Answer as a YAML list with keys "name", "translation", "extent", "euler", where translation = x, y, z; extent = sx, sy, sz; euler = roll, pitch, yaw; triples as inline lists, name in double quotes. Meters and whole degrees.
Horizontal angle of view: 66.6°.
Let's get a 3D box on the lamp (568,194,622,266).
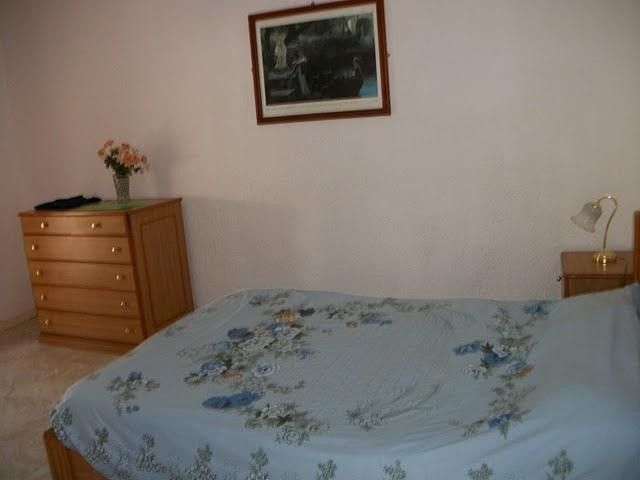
- name: "lamp"
  translation: [1.874, -0.080, 3.291]
  extent: [0.365, 0.581, 0.234]
  euler: [1, 26, 23]
